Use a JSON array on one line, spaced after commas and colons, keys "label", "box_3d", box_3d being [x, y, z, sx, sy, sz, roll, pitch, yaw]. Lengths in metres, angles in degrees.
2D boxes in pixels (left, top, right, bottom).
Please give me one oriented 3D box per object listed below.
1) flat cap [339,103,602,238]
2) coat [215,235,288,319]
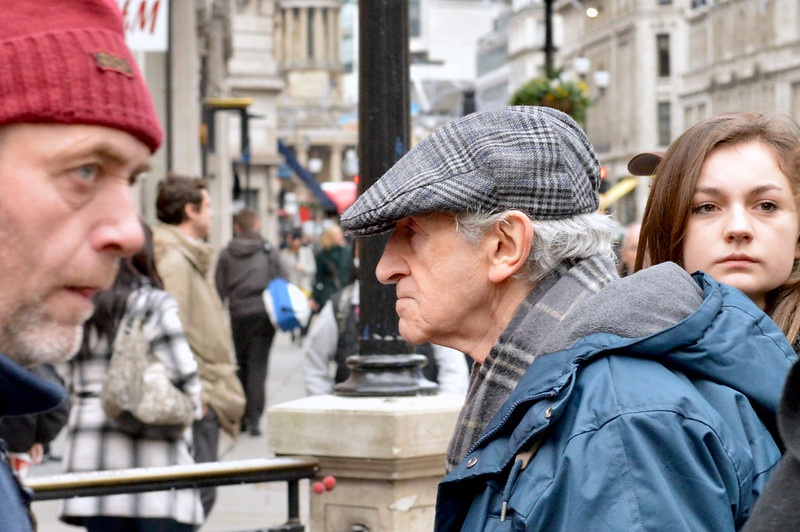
[{"label": "flat cap", "box_3d": [0.310, -0.333, 6.428, 0.719, 0.364, 0.506, 0, -6, 2]}, {"label": "coat", "box_3d": [-0.955, 0.112, 11.069, 0.566, 0.541, 0.298, 0, 12, 9]}]
